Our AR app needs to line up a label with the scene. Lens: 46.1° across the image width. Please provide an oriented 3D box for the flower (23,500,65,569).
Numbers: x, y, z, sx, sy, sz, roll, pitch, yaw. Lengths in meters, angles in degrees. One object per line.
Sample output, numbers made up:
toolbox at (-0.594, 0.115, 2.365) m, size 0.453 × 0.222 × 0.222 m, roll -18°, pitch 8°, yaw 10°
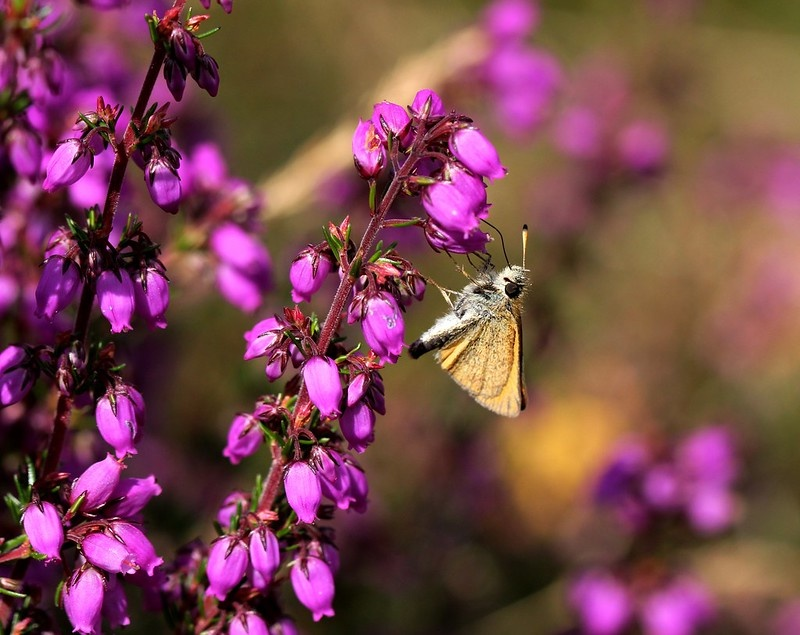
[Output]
flower at (-0.940, 0.580, 2.499) m, size 0.079 × 0.088 × 0.176 m, roll -16°, pitch 63°, yaw -20°
